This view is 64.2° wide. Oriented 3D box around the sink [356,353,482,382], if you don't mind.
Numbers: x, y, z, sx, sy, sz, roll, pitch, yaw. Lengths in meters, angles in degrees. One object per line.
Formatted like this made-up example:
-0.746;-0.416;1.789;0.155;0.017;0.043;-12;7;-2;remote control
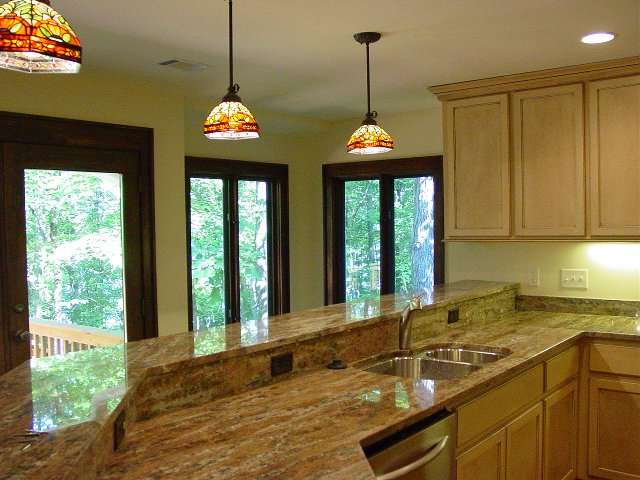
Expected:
0.518;0.720;2.813;0.670;0.140;0.243;2;7;-12;sink

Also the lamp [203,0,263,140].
-0.500;-0.952;3.012;0.286;0.741;1.052;2;7;-8;lamp

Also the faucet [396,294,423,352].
0.516;0.455;2.960;0.112;0.316;0.226;4;7;9;faucet
